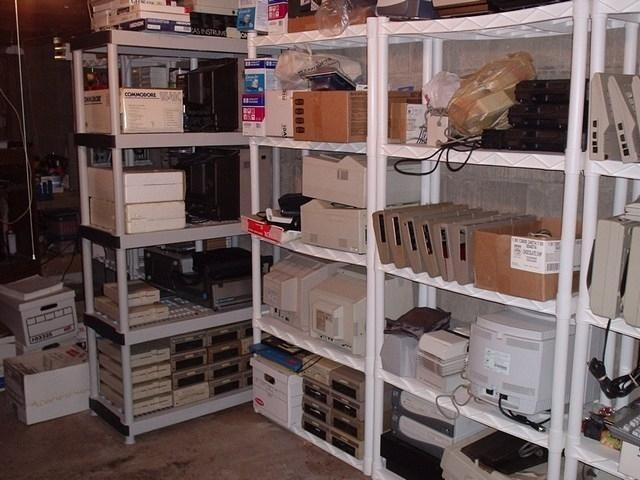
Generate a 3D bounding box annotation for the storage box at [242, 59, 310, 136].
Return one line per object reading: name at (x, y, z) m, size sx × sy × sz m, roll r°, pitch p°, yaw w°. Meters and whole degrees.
storage box at (-0.246, -0.856, 3.453) m, size 0.226 × 0.407 × 0.436 m, roll -10°, pitch 17°, yaw -40°

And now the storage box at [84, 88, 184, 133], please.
storage box at (-1.154, -0.817, 3.665) m, size 0.346 × 0.228 × 0.473 m, roll -8°, pitch 14°, yaw -35°

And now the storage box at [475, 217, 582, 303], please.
storage box at (0.969, 0.115, 2.736) m, size 0.528 × 0.247 × 0.552 m, roll 5°, pitch 5°, yaw 13°

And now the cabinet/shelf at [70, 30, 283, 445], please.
cabinet/shelf at (-1.036, -0.064, 4.136) m, size 1.221 × 2.444 × 0.798 m, roll -5°, pitch 9°, yaw -42°

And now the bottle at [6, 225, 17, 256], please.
bottle at (-3.266, 0.032, 6.155) m, size 0.080 × 0.230 × 0.113 m, roll -4°, pitch 14°, yaw -13°

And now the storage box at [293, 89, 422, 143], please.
storage box at (0.061, -0.716, 3.363) m, size 0.530 × 0.243 × 0.404 m, roll 5°, pitch 13°, yaw 32°
